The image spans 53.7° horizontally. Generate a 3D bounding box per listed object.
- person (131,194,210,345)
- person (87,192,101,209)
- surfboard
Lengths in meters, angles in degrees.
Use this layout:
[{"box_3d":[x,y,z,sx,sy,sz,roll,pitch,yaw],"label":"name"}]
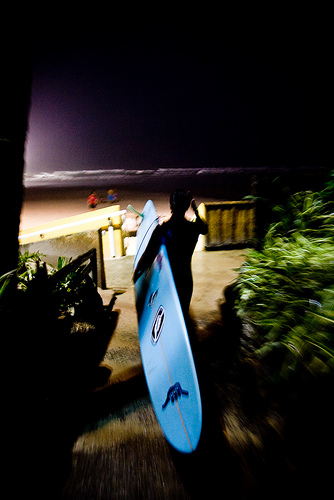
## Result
[{"box_3d":[0.017,0.205,2.745,0.577,1.404,0.429,1,16,2],"label":"person"},{"box_3d":[-3.173,-1.997,13.786,0.360,0.729,1.119,-7,5,-15],"label":"person"},{"box_3d":[-0.117,0.411,2.380,0.164,0.313,1.797,23,22,-24],"label":"surfboard"}]
